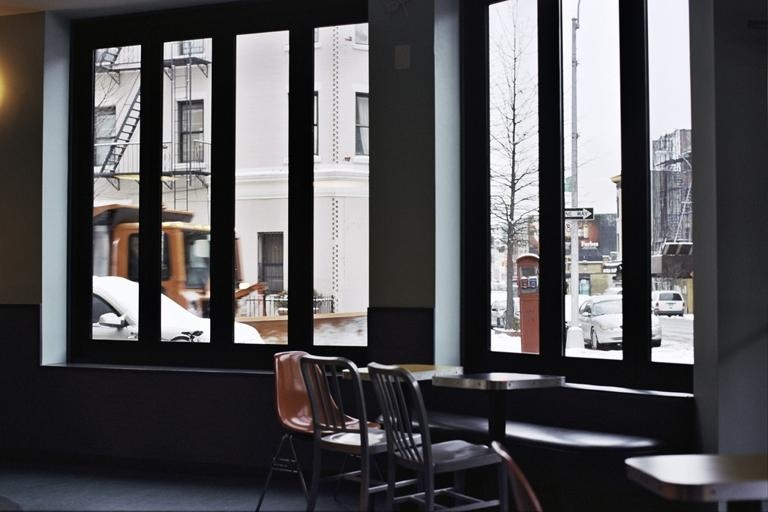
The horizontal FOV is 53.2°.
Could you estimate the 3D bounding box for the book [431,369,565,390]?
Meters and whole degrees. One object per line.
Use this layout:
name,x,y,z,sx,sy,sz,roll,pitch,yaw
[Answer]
book,0.819,0.903,5.529,0.941,0.115,0.376,-2,-2,1
